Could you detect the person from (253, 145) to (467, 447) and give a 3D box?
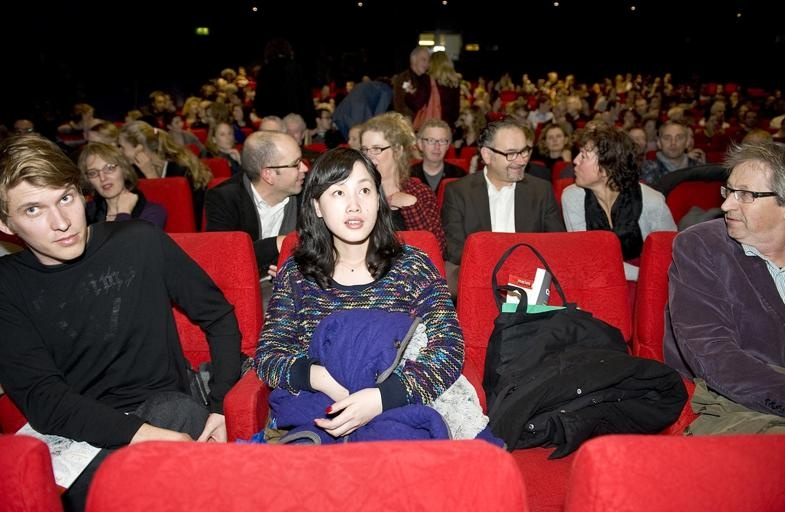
[{"bbox_3d":[-0.151,0.110,2.177,0.867,1.106,0.684,-3,12,-9],"label":"person"}]
